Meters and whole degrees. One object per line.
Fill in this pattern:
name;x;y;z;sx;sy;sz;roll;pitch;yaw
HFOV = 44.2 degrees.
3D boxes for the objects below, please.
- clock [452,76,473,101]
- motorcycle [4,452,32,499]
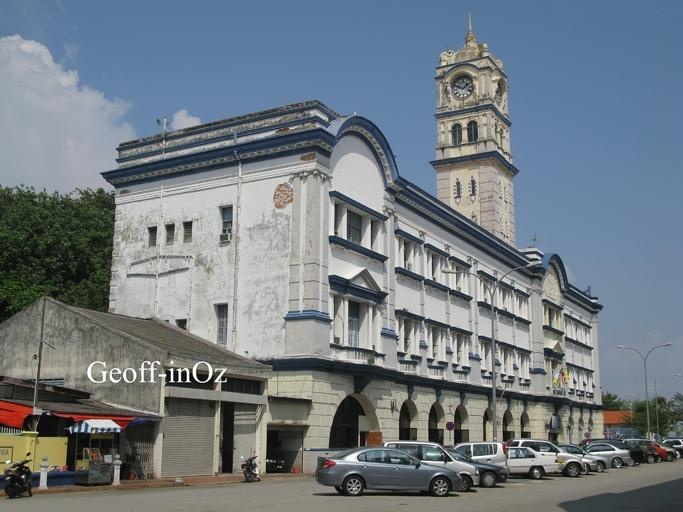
clock;13.040;-18.064;90.461;1.891;2.289;0.247;34;7;27
motorcycle;-13.591;9.433;35.637;1.150;1.685;1.035;19;-27;-39
